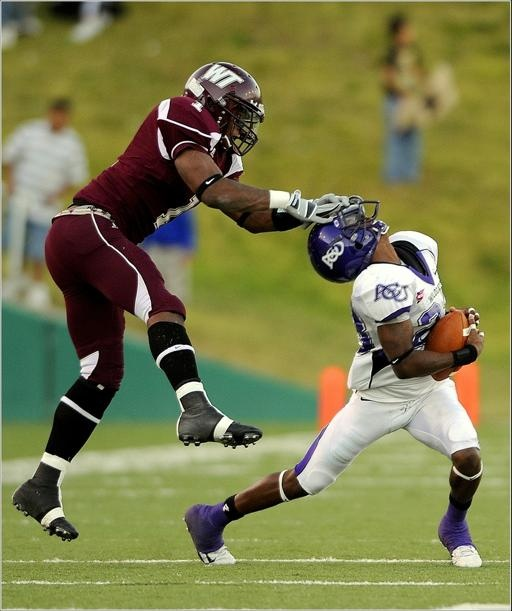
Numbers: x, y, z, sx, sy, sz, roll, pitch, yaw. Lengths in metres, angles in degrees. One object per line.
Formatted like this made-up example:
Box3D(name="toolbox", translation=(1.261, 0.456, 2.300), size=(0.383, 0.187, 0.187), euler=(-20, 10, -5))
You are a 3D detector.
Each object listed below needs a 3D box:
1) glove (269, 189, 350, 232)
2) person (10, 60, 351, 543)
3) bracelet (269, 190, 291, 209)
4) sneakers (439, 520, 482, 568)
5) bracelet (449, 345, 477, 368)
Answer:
Box3D(name="glove", translation=(0.171, -0.326, 3.035), size=(0.252, 0.090, 0.190), euler=(-9, 32, -43))
Box3D(name="person", translation=(-0.242, -0.006, 2.979), size=(0.787, 1.768, 0.964), euler=(3, 10, -35))
Box3D(name="bracelet", translation=(0.089, -0.372, 2.909), size=(0.087, 0.044, 0.057), euler=(3, -3, 10))
Box3D(name="sneakers", translation=(0.780, 0.919, 3.208), size=(0.090, 0.090, 0.228), euler=(-11, 3, -8))
Box3D(name="bracelet", translation=(0.778, 0.190, 3.102), size=(0.117, 0.049, 0.078), euler=(-16, -17, 15))
